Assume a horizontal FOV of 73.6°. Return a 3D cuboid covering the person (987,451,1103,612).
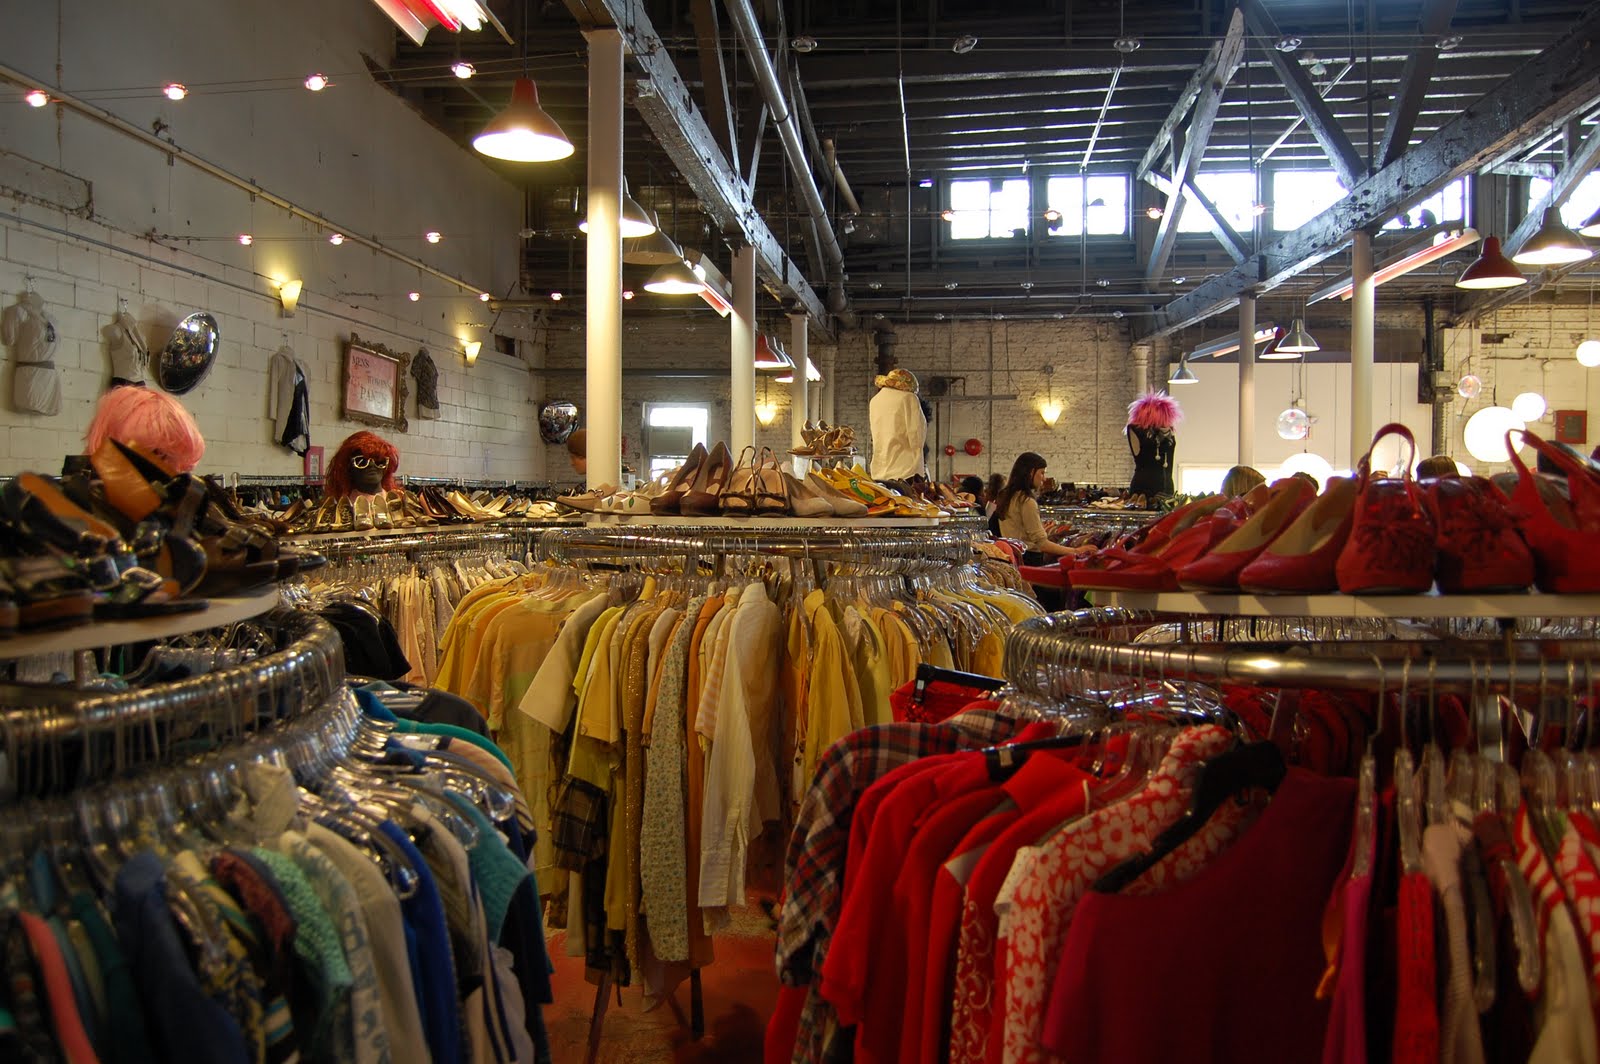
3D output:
[{"bbox_3d":[1.685,0.145,7.097,0.753,1.406,0.610,-7,11,-8],"label":"person"}]
